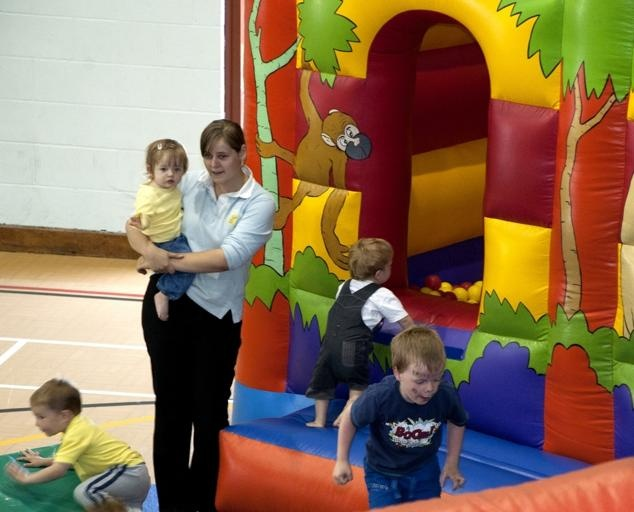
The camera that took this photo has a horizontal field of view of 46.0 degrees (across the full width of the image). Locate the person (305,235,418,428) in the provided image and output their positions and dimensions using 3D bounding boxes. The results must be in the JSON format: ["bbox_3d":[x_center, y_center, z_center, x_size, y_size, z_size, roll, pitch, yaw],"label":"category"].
[{"bbox_3d":[0.208,0.347,3.565,0.412,0.958,0.458,6,23,-5],"label":"person"}]
